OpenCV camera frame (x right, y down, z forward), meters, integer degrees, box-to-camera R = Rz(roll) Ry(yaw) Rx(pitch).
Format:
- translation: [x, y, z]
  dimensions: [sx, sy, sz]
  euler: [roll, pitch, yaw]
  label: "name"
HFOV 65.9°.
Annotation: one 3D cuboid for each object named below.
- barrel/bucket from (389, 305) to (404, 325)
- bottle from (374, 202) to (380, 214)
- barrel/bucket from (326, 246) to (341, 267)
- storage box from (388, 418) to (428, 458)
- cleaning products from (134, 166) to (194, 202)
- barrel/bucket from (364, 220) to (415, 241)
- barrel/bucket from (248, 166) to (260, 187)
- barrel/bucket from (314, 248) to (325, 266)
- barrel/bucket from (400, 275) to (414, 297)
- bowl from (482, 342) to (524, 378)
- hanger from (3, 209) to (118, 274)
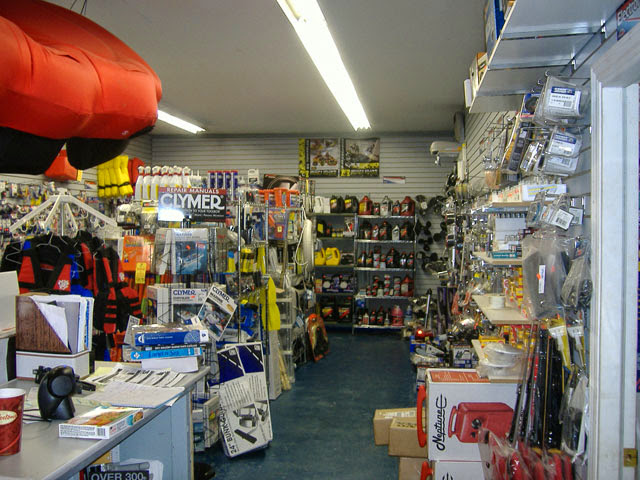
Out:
- translation: [1.361, 1.380, 8.965]
  dimensions: [0.212, 0.341, 0.307]
  euler: [1, -9, -4]
  label: "barrel/bucket"
- translation: [1.056, -0.560, 9.040]
  dimensions: [0.101, 0.193, 0.123]
  euler: [5, 13, -3]
  label: "bottle"
- translation: [0.242, 0.310, 9.045]
  dimensions: [0.317, 0.346, 0.221]
  euler: [5, -6, -13]
  label: "barrel/bucket"
- translation: [0.760, 1.753, 4.326]
  dimensions: [0.394, 0.277, 0.405]
  euler: [0, 0, 17]
  label: "storage box"
- translation: [-1.896, -0.650, 6.064]
  dimensions: [0.609, 0.455, 1.042]
  euler: [-2, 17, -30]
  label: "cleaning products"
- translation: [1.232, -0.174, 9.032]
  dimensions: [1.001, 0.408, 0.310]
  euler: [8, 13, 4]
  label: "barrel/bucket"
- translation: [-0.834, -0.778, 6.261]
  dimensions: [0.132, 0.227, 0.244]
  euler: [3, 14, -11]
  label: "barrel/bucket"
- translation: [0.019, 0.316, 9.078]
  dimensions: [0.283, 0.309, 0.184]
  euler: [3, -4, -9]
  label: "barrel/bucket"
- translation: [1.577, 0.832, 8.973]
  dimensions: [0.269, 0.559, 0.305]
  euler: [2, 0, 5]
  label: "barrel/bucket"
- translation: [1.234, 0.826, 3.364]
  dimensions: [0.255, 0.209, 0.167]
  euler: [9, 14, 12]
  label: "bowl"
- translation: [-2.636, 0.026, 5.037]
  dimensions: [0.610, 0.778, 0.642]
  euler: [-1, -2, 32]
  label: "hanger"
